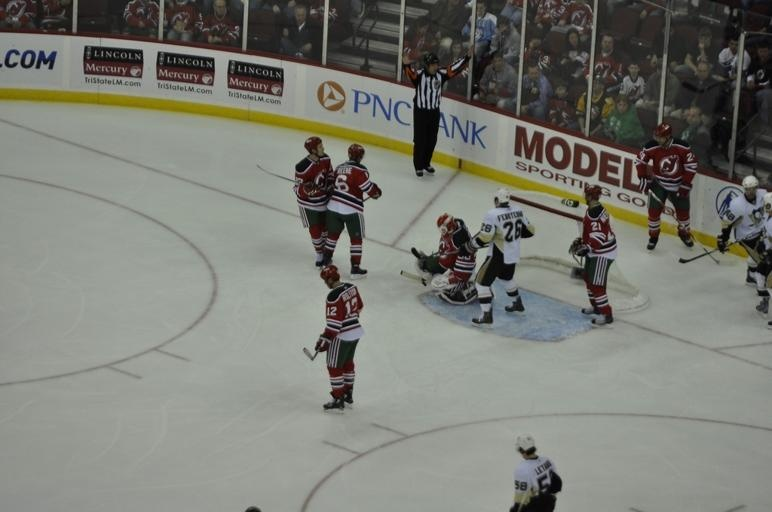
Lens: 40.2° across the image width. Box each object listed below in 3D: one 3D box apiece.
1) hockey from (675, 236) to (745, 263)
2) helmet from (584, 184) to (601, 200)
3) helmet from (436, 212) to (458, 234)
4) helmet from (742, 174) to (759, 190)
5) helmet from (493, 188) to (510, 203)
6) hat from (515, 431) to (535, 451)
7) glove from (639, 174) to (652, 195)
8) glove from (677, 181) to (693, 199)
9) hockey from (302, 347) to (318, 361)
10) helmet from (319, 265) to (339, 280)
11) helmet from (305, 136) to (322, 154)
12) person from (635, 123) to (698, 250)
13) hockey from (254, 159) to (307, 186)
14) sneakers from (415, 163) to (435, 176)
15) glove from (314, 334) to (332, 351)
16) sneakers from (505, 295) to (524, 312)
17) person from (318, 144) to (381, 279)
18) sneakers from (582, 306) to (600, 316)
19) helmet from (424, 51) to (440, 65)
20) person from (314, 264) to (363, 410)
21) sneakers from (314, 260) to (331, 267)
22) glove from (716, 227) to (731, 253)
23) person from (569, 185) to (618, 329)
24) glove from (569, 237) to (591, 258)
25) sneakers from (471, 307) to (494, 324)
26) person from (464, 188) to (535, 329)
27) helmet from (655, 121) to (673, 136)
[{"bbox_3d":[5.135,-0.006,16.774,1.831,0.325,0.324,-9,60,-48],"label":"hockey"},{"bbox_3d":[2.894,-0.879,14.847,0.204,0.215,0.190,4,14,0],"label":"helmet"},{"bbox_3d":[0.835,-0.473,15.202,0.260,0.287,0.224,44,22,-20],"label":"helmet"},{"bbox_3d":[5.420,-1.116,15.687,0.212,0.252,0.263,-13,-1,19],"label":"helmet"},{"bbox_3d":[1.596,-0.842,14.642,0.205,0.212,0.174,27,43,33],"label":"helmet"},{"bbox_3d":[1.481,2.025,11.344,0.195,0.188,0.161,23,25,34],"label":"hat"},{"bbox_3d":[4.125,-1.128,16.771,0.135,0.296,0.398,10,16,24],"label":"glove"},{"bbox_3d":[4.732,-1.046,16.728,0.195,0.276,0.092,15,12,31],"label":"glove"},{"bbox_3d":[-1.014,1.273,13.487,0.058,0.211,0.223,35,18,-7],"label":"hockey"},{"bbox_3d":[-0.733,0.207,12.924,0.215,0.210,0.184,9,50,1],"label":"helmet"},{"bbox_3d":[-1.108,-1.608,15.452,0.210,0.265,0.337,2,15,-5],"label":"helmet"},{"bbox_3d":[4.490,-1.122,16.922,0.900,2.210,0.677,-1,30,14],"label":"person"},{"bbox_3d":[-1.831,-1.377,17.673,1.649,0.194,0.132,23,38,38],"label":"hockey"},{"bbox_3d":[0.657,-1.522,18.609,0.165,0.148,0.406,-34,-18,35],"label":"sneakers"},{"bbox_3d":[-0.816,1.065,12.745,0.154,0.214,0.110,2,48,-33],"label":"glove"},{"bbox_3d":[1.838,0.716,15.099,0.143,0.241,0.327,-13,24,-28],"label":"sneakers"},{"bbox_3d":[-0.575,-0.680,15.650,0.786,1.944,0.627,2,14,-5],"label":"person"},{"bbox_3d":[2.933,0.803,15.169,0.248,0.099,0.092,7,7,4],"label":"sneakers"},{"bbox_3d":[0.730,-3.403,18.099,0.234,0.227,0.201,-16,6,30],"label":"helmet"},{"bbox_3d":[-0.641,1.053,12.990,0.640,1.815,0.511,-2,15,-19],"label":"person"},{"bbox_3d":[-0.993,0.115,15.907,0.252,0.119,0.109,-4,29,-7],"label":"sneakers"},{"bbox_3d":[5.197,-0.243,16.051,0.111,0.339,0.248,12,23,12],"label":"glove"},{"bbox_3d":[2.966,0.002,14.918,0.691,1.942,0.351,6,15,11],"label":"person"},{"bbox_3d":[2.729,-0.113,14.978,0.172,0.155,0.295,3,25,9],"label":"glove"},{"bbox_3d":[1.372,0.863,14.840,0.159,0.249,0.325,-6,17,-39],"label":"sneakers"},{"bbox_3d":[1.596,0.021,14.802,0.799,1.905,0.394,-4,16,-26],"label":"person"},{"bbox_3d":[4.391,-2.008,16.636,0.228,0.178,0.224,-22,-14,3],"label":"helmet"}]
